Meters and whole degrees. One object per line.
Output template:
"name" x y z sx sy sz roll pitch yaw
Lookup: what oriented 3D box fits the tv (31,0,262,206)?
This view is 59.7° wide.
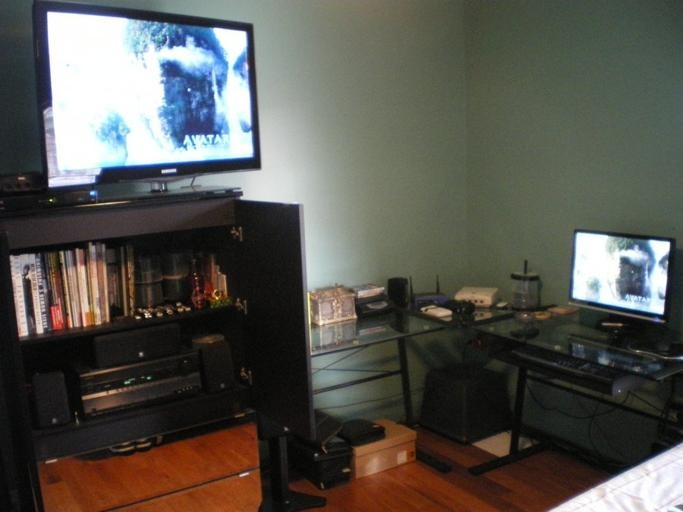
"tv" -0.923 -0.673 2.734 1.053 0.751 0.119 -5 7 -34

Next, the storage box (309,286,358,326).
"storage box" -0.045 0.246 3.468 0.294 0.175 0.194 -7 9 -36

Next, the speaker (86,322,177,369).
"speaker" -0.938 0.415 2.738 0.379 0.157 0.047 -10 15 -27

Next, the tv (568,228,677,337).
"tv" 1.547 0.156 3.233 0.198 0.494 0.542 -4 6 -33

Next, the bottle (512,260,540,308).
"bottle" 1.146 0.200 3.735 0.197 0.317 0.225 0 5 4

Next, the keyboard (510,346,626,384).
"keyboard" 1.122 0.545 3.006 0.119 0.070 0.558 -13 17 -37

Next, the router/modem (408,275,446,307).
"router/modem" 0.547 0.259 3.830 0.227 0.199 0.191 -9 2 -7

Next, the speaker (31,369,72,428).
"speaker" -1.286 0.619 2.622 0.145 0.227 0.159 -10 15 -26
